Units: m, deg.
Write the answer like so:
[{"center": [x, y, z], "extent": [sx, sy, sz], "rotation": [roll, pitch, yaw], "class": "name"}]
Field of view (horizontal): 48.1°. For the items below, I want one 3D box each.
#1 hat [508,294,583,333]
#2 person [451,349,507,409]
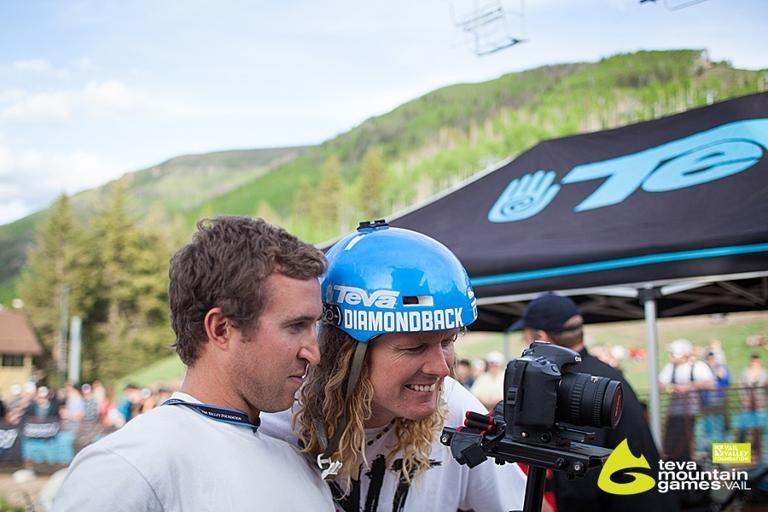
[{"center": [2.230, 0.763, 11.581], "extent": [0.633, 0.398, 0.474], "rotation": [-2, -2, 20], "class": "hat"}, {"center": [2.128, 2.680, 18.564], "extent": [1.506, 1.632, 0.476], "rotation": [3, -14, 2], "class": "person"}]
